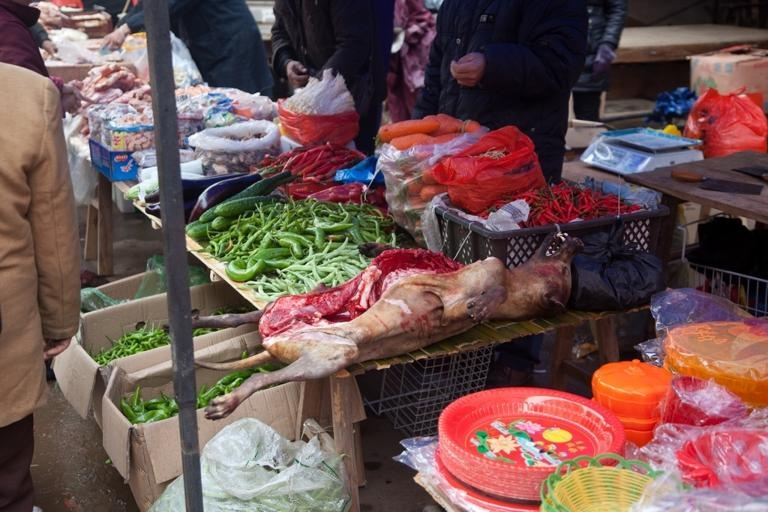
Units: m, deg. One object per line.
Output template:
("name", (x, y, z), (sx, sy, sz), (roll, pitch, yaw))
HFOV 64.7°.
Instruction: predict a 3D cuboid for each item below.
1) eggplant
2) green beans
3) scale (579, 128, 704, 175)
("eggplant", (-1.021, -0.333, 3.572), (0.749, 0.236, 0.235), (-20, 33, -5))
("green beans", (-0.388, 0.051, 3.519), (0.886, 0.315, 0.778), (-15, 24, -35))
("scale", (1.795, -0.716, 4.089), (0.536, 0.206, 0.580), (-12, 24, -19))
